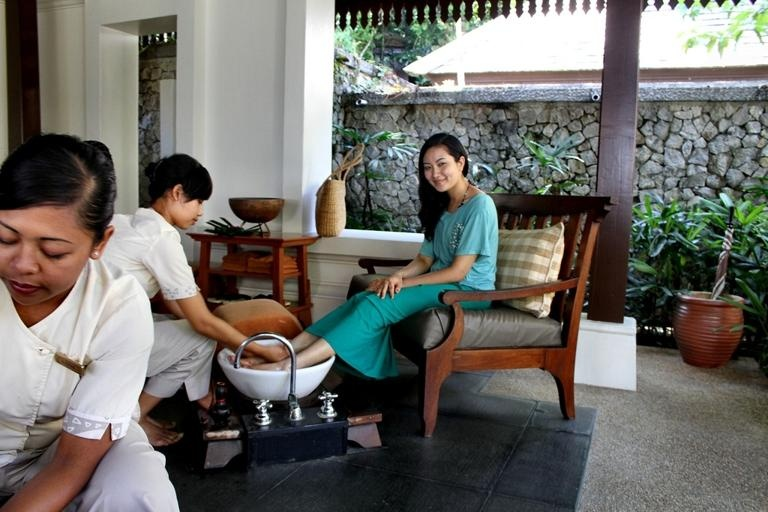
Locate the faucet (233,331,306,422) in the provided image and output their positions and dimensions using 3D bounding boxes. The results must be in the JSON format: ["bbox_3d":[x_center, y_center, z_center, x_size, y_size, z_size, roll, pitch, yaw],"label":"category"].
[{"bbox_3d":[-0.511,0.553,2.372,0.331,0.408,0.134,2,10,-4],"label":"faucet"}]

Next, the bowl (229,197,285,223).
[{"bbox_3d":[-0.965,-0.347,3.897,0.261,0.103,0.257,0,2,0],"label":"bowl"}]

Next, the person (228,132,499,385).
[{"bbox_3d":[-0.050,0.017,3.066,1.536,1.331,0.613,-10,16,-18],"label":"person"}]

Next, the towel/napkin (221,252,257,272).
[{"bbox_3d":[-1.085,0.044,3.895,0.179,0.064,0.179,3,6,30],"label":"towel/napkin"}]

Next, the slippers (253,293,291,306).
[{"bbox_3d":[-0.736,0.291,3.474,0.266,0.091,0.089,5,6,31],"label":"slippers"}]

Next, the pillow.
[{"bbox_3d":[0.873,0.089,3.078,0.189,0.373,0.517,6,23,-33],"label":"pillow"}]

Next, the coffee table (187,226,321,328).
[{"bbox_3d":[-1.099,0.185,3.946,0.696,0.439,0.617,14,7,-15],"label":"coffee table"}]

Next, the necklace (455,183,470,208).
[{"bbox_3d":[0.499,-0.365,3.212,0.050,0.158,0.040,26,-8,41],"label":"necklace"}]

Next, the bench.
[{"bbox_3d":[0.495,0.237,3.443,1.223,1.197,1.454,-1,8,-20],"label":"bench"}]
